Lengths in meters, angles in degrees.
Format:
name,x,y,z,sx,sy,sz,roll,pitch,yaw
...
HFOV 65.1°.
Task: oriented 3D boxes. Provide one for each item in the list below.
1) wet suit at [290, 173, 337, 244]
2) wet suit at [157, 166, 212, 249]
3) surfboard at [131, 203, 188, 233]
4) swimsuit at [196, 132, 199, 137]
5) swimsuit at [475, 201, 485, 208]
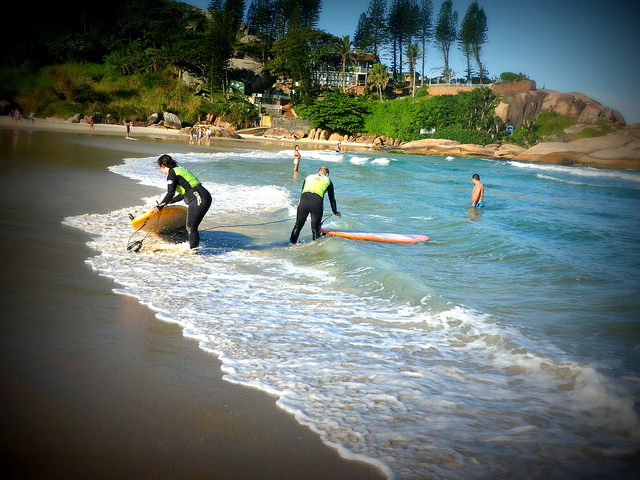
name,x,y,z,sx,sy,sz,roll,pitch,yaw
wet suit,-0.131,-0.632,10.630,0.797,1.543,0.597,8,13,-3
wet suit,-2.459,-0.551,9.099,0.873,1.494,0.543,6,14,-12
surfboard,-3.020,-0.378,9.573,0.720,0.132,1.307,10,-29,-42
swimsuit,-11.080,-9.438,45.518,0.071,0.388,0.625,3,11,-23
swimsuit,5.611,-1.227,17.446,0.269,0.188,0.349,8,-12,-37
